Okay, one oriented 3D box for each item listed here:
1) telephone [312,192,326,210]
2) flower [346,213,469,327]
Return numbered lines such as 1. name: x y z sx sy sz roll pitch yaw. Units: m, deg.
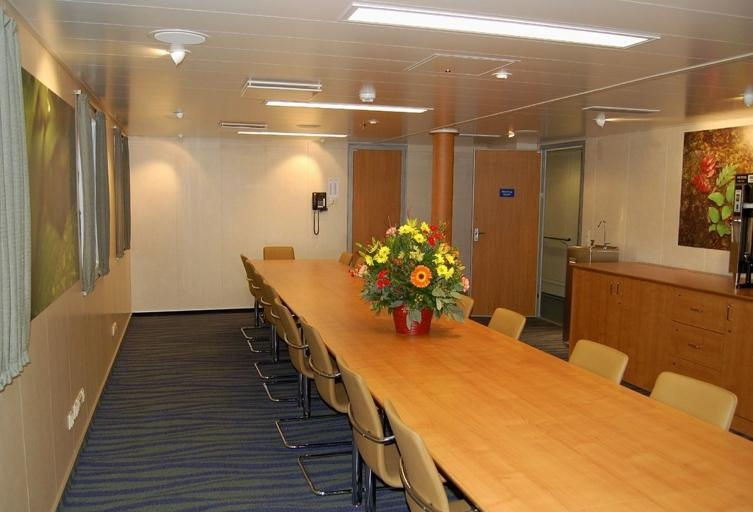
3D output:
1. telephone: -1.095 -1.050 10.062 0.313 0.441 0.288 -1 4 -17
2. flower: 0.212 0.135 4.575 0.933 0.828 0.920 0 4 -36
